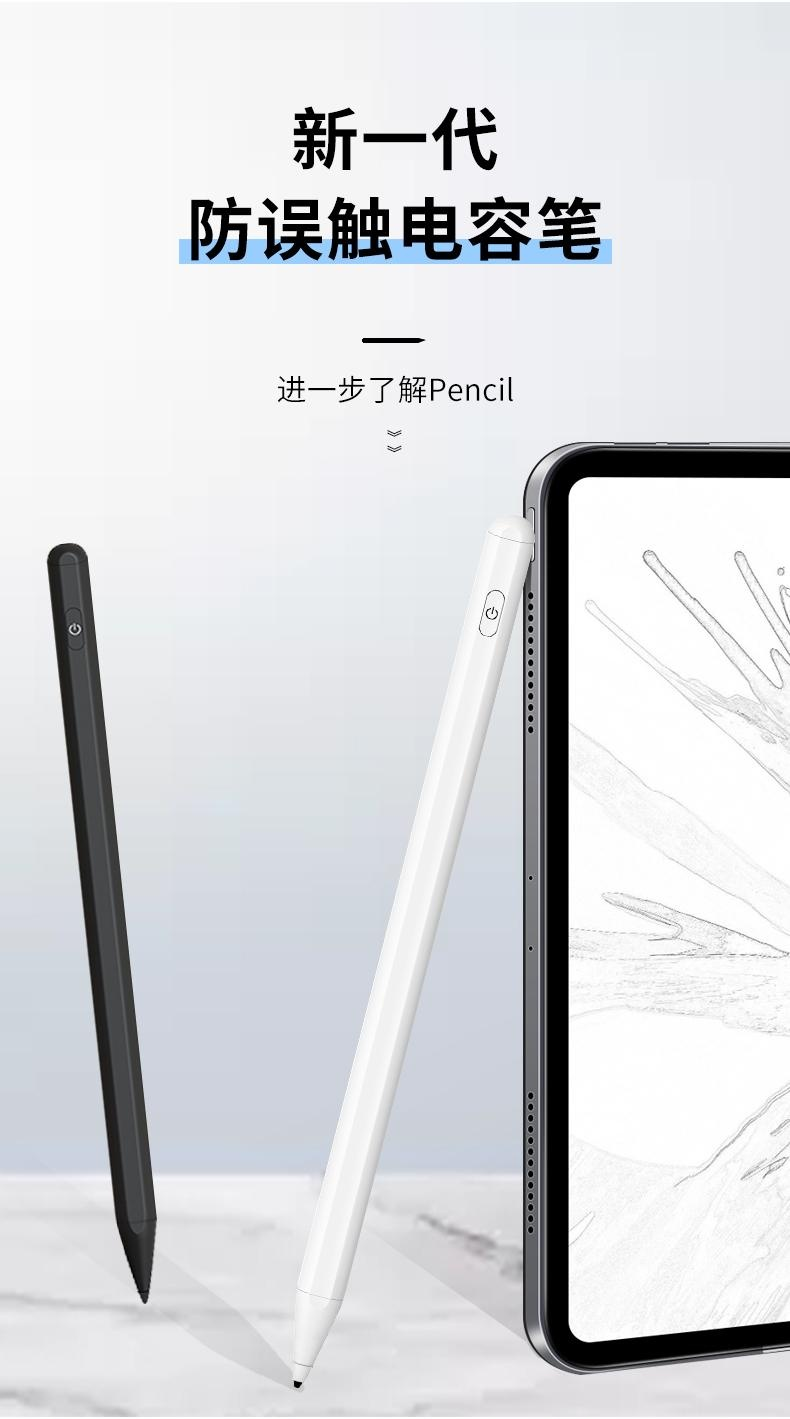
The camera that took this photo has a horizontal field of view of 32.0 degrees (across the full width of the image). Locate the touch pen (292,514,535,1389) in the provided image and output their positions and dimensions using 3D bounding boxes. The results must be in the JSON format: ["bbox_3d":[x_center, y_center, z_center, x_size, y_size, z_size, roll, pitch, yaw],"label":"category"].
[{"bbox_3d":[0.009,0.138,0.878,0.036,0.529,0.050,10,-4,-12],"label":"touch pen"}]

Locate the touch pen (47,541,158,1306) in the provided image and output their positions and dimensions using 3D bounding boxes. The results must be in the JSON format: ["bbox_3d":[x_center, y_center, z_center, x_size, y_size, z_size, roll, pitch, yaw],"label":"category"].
[{"bbox_3d":[-0.172,0.122,0.842,0.034,0.459,0.037,-9,-9,1],"label":"touch pen"}]
